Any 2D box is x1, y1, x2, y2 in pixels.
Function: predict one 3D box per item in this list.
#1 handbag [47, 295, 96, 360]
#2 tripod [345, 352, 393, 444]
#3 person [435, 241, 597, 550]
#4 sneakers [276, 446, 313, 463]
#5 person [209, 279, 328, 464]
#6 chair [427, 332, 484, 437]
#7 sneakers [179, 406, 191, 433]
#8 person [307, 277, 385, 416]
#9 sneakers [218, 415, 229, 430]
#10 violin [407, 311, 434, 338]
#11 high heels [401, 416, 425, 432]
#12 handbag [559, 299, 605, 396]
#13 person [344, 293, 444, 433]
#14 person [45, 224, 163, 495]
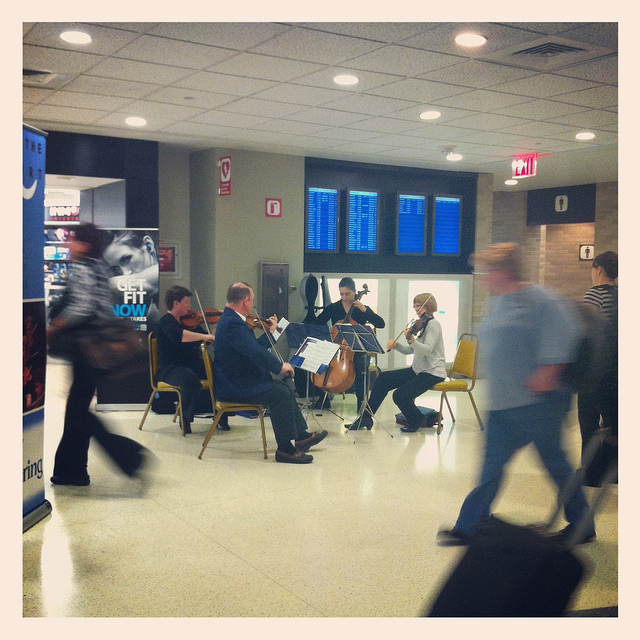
[{"bbox_3d":[-1.447,0.042,3.473,0.234,0.357,0.198,15,12,-28],"label":"handbag"},{"bbox_3d":[0.460,0.812,6.285,0.596,1.070,0.744,3,-3,-16],"label":"tripod"},{"bbox_3d":[0.961,0.430,2.975,0.641,1.599,0.437,1,3,14],"label":"person"},{"bbox_3d":[-0.205,1.067,4.739,0.279,0.113,0.112,0,-3,4],"label":"sneakers"},{"bbox_3d":[-0.437,0.402,5.014,0.851,1.419,0.884,1,3,0],"label":"person"},{"bbox_3d":[1.306,0.609,5.982,0.565,0.916,0.613,3,1,9],"label":"chair"},{"bbox_3d":[-1.263,0.923,5.590,0.091,0.268,0.203,0,3,-13],"label":"sneakers"},{"bbox_3d":[0.266,0.213,6.392,0.687,1.562,0.441,-3,-5,22],"label":"person"},{"bbox_3d":[-0.945,1.008,5.832,0.075,0.163,0.155,6,-28,-14],"label":"sneakers"},{"bbox_3d":[0.952,0.037,5.698,0.281,0.068,0.153,-44,10,26],"label":"violin"},{"bbox_3d":[0.915,1.032,5.849,0.271,0.127,0.101,6,-7,-37],"label":"high heels"},{"bbox_3d":[1.373,0.150,3.087,0.163,0.544,0.391,0,16,9],"label":"handbag"},{"bbox_3d":[0.848,0.412,5.860,0.756,1.342,0.613,3,4,30],"label":"person"},{"bbox_3d":[-1.403,0.284,3.791,0.586,1.750,0.831,-1,4,-23],"label":"person"}]
